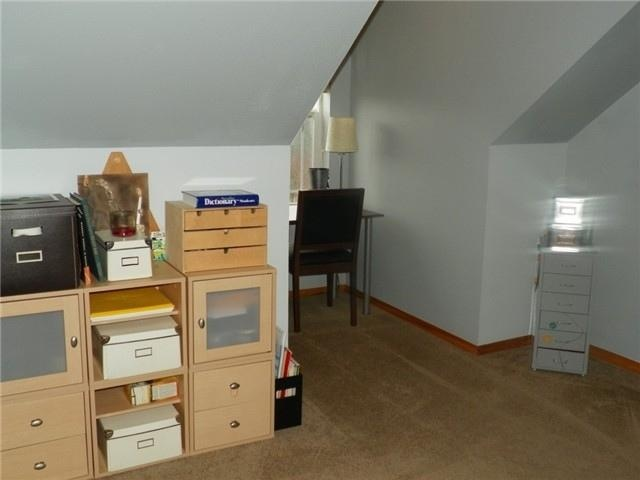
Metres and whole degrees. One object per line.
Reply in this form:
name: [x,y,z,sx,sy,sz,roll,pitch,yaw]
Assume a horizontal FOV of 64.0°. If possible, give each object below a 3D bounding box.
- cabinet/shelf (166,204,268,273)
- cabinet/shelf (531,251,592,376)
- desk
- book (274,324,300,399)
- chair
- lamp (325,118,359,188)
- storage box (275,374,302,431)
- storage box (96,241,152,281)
cabinet/shelf: [-0.517,-0.014,2.636,0.427,0.316,0.314,-3,7,-27]
cabinet/shelf: [1.598,0.477,3.373,0.333,0.790,0.190,4,14,13]
desk: [0.001,0.131,4.532,0.887,1.079,0.853,-3,6,-34]
book: [-0.174,0.658,2.765,0.132,0.350,0.164,-1,14,-7]
chair: [0.050,0.158,3.969,0.562,1.113,0.344,-1,14,-4]
lamp: [0.204,-0.763,4.575,0.274,0.637,0.402,1,14,3]
storage box: [-0.171,0.863,2.743,0.188,0.262,0.260,-3,11,-12]
storage box: [-0.876,0.108,2.352,0.190,0.150,0.192,-4,8,-34]
